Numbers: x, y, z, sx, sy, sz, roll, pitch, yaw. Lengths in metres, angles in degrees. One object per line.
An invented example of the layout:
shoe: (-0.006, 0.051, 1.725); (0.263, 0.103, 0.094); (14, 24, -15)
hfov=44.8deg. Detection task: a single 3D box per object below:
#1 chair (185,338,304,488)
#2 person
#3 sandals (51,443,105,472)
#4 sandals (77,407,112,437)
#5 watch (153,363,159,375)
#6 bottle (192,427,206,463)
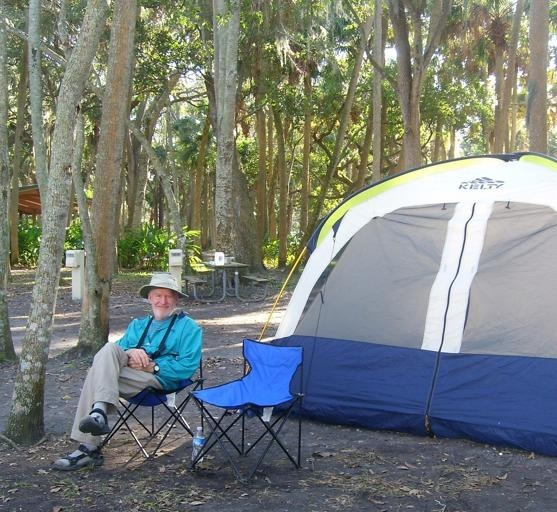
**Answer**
chair: (-0.259, 1.175, 5.268); (0.628, 1.031, 0.728); (1, 1, -41)
person: (-1.128, 0.836, 5.204); (0.671, 1.410, 1.138); (1, 0, 38)
sandals: (-1.467, 1.470, 4.978); (0.386, 0.190, 0.144); (3, -5, -22)
sandals: (-1.258, 1.122, 4.647); (0.108, 0.128, 0.289); (1, -25, -3)
watch: (-0.939, 0.868, 5.205); (0.056, 0.059, 0.017); (-2, -4, -39)
bottle: (-0.589, 1.384, 5.002); (0.086, 0.293, 0.221); (1, 0, -6)
